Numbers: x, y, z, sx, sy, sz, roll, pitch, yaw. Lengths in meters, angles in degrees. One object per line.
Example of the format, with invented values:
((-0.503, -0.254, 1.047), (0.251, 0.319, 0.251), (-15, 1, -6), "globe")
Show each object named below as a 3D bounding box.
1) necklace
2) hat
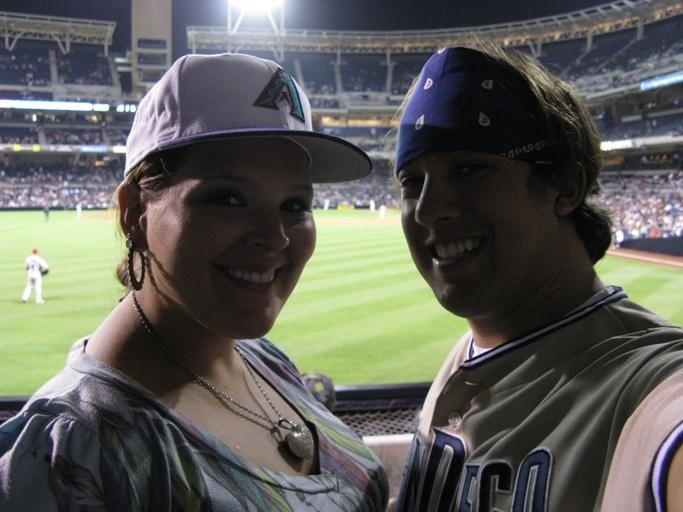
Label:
((-0.645, 0.699, 3.503), (1.111, 0.114, 0.505), (49, 21, 12), "necklace")
((-0.447, -0.493, 3.279), (0.819, 0.467, 0.651), (-3, -4, 24), "hat")
